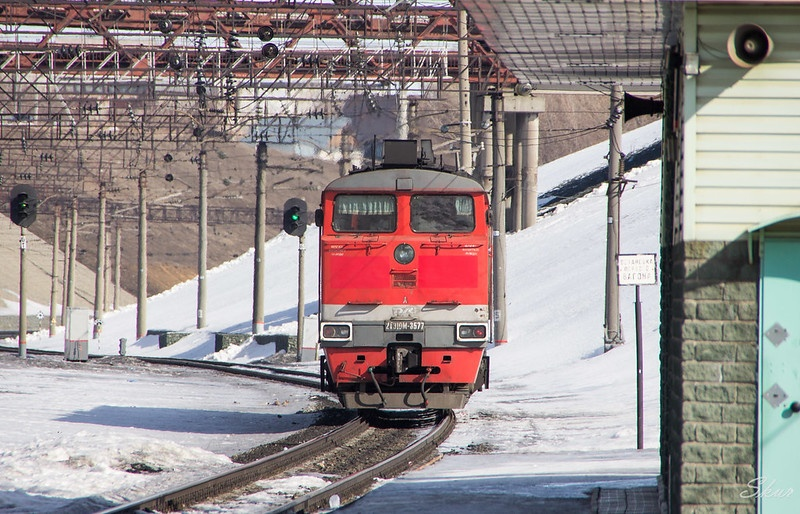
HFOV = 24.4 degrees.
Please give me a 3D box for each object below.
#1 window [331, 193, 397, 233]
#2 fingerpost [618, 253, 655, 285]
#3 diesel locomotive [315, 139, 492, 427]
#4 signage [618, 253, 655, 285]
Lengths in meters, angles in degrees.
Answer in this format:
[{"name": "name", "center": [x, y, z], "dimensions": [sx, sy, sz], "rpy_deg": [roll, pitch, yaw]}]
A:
[{"name": "window", "center": [-1.645, -1.919, 81.576], "dimensions": [1.920, 1.073, 0.059], "rpy_deg": [0, 1, 2]}, {"name": "fingerpost", "center": [10.051, 0.544, 79.686], "dimensions": [1.397, 0.938, 0.191], "rpy_deg": [-1, 1, 0]}, {"name": "diesel locomotive", "center": [0.157, 0.723, 81.628], "dimensions": [7.207, 11.860, 1.047], "rpy_deg": [2, -6, -2]}, {"name": "signage", "center": [10.051, 0.544, 79.686], "dimensions": [1.397, 0.938, 0.192], "rpy_deg": [-1, 1, 0]}]
